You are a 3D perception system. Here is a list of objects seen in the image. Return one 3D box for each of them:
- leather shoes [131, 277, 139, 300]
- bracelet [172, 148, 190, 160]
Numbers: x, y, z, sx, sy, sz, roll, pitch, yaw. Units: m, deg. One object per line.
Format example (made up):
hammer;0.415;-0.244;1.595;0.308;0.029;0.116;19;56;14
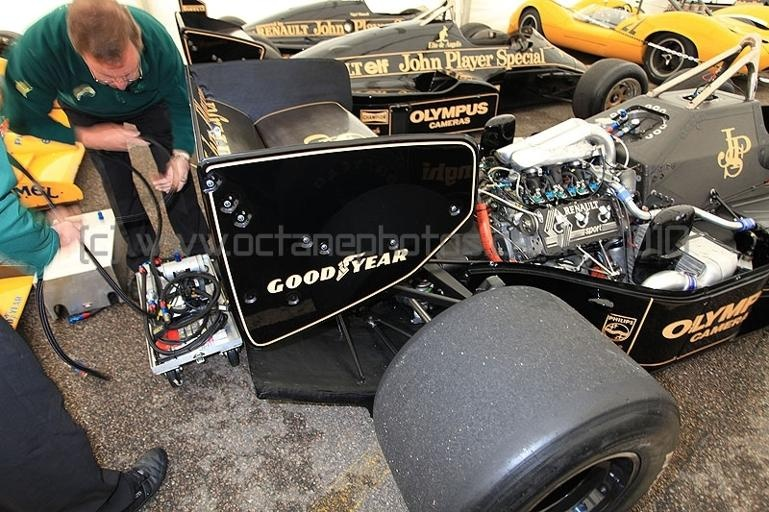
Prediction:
leather shoes;-1.532;0.204;3.319;0.025;0.137;0.077;-9;-10;40
bracelet;-1.116;-0.553;2.973;0.061;0.045;0.061;5;9;1
